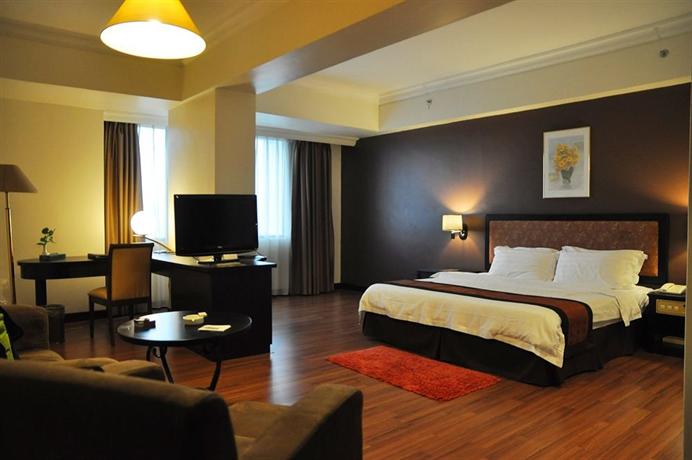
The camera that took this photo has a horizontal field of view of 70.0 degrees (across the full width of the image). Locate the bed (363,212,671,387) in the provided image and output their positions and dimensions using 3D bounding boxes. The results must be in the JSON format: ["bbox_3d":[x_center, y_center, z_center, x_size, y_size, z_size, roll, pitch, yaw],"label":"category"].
[{"bbox_3d":[2.208,0.750,5.700,2.232,1.357,2.253,3,-3,-39],"label":"bed"}]

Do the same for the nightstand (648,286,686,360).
[{"bbox_3d":[3.643,1.014,5.616,0.379,0.741,0.382,7,13,31],"label":"nightstand"}]

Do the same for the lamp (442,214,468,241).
[{"bbox_3d":[1.617,-0.047,7.550,0.401,0.438,0.391,-1,0,-32],"label":"lamp"}]

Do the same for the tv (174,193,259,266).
[{"bbox_3d":[-1.444,-0.024,5.482,0.815,0.703,0.133,-1,1,-23],"label":"tv"}]

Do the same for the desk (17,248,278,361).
[{"bbox_3d":[-1.815,0.669,5.351,1.743,0.785,1.652,-2,4,-41],"label":"desk"}]
